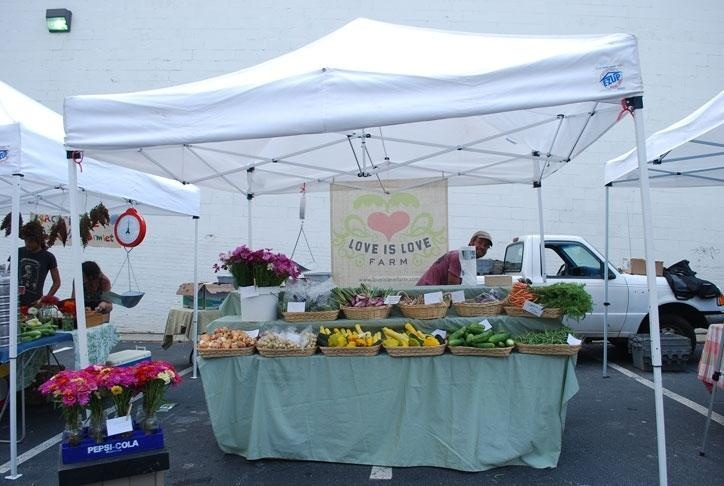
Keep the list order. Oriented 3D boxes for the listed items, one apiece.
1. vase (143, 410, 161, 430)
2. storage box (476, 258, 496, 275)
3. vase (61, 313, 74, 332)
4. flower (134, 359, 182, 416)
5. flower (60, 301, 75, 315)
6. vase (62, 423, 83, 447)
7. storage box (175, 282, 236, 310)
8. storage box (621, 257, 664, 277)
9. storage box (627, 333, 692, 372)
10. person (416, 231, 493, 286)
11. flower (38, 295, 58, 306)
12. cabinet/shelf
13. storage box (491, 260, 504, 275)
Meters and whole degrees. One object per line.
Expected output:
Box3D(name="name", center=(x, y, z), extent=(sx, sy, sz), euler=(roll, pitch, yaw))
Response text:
Box3D(name="vase", center=(-2.435, 2.044, 8.143), extent=(0.192, 0.249, 0.190), euler=(3, -15, -28))
Box3D(name="storage box", center=(2.381, 0.463, 13.637), extent=(0.377, 0.345, 0.373), euler=(0, -5, -1))
Box3D(name="vase", center=(-4.253, 1.153, 10.292), extent=(0.155, 0.233, 0.083), euler=(-6, 12, -24))
Box3D(name="flower", center=(-2.366, 1.697, 8.314), extent=(0.458, 0.607, 0.517), euler=(2, 0, -3))
Box3D(name="flower", center=(-4.278, 0.958, 10.416), extent=(0.189, 0.136, 0.193), euler=(2, -5, 25))
Box3D(name="vase", center=(-3.221, 2.156, 7.938), extent=(0.214, 0.198, 0.209), euler=(2, -4, -13))
Box3D(name="storage box", center=(-2.971, 0.966, 13.171), extent=(0.812, 0.390, 0.826), euler=(1, 0, 20))
Box3D(name="storage box", center=(4.719, 0.421, 11.961), extent=(0.417, 0.246, 0.403), euler=(3, 0, -22))
Box3D(name="storage box", center=(5.231, 1.896, 12.486), extent=(1.104, 0.665, 1.018), euler=(0, -3, 3))
Box3D(name="person", center=(1.316, 0.255, 10.269), extent=(1.209, 0.712, 0.491), euler=(-6, 12, -28))
Box3D(name="flower", center=(-4.676, 0.882, 10.618), extent=(0.268, 0.113, 0.574), euler=(-6, 12, -28))
Box3D(name="cabinet/shelf", center=(0.389, 1.816, 9.229), extent=(6.529, 2.301, 2.466), euler=(0, -1, 1))
Box3D(name="storage box", center=(2.593, 0.472, 13.553), extent=(0.181, 0.289, 0.291), euler=(0, -10, 4))
